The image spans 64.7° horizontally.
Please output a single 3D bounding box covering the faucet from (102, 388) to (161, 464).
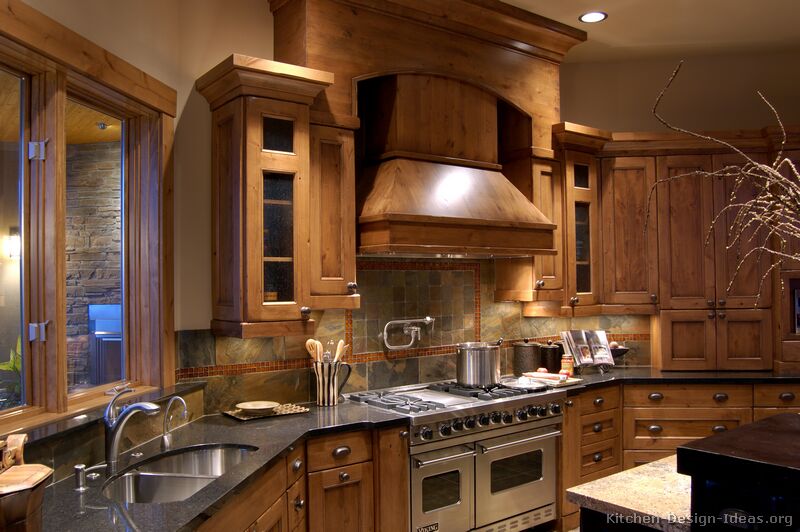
[{"bbox_3d":[-1.405,0.827,3.265,0.241,0.361,0.594,-4,4,-26],"label":"faucet"}]

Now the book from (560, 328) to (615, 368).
[{"bbox_3d":[1.637,0.714,5.461,0.456,0.304,0.104,-2,-17,-25],"label":"book"}]

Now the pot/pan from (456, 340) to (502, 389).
[{"bbox_3d":[0.608,0.760,4.914,0.349,0.295,0.322,0,2,-4],"label":"pot/pan"}]

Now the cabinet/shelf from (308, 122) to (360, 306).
[{"bbox_3d":[-0.466,-0.332,4.295,0.479,1.276,0.179,5,10,25],"label":"cabinet/shelf"}]

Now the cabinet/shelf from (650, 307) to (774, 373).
[{"bbox_3d":[2.741,0.656,5.658,1.019,0.566,0.527,0,-3,-7],"label":"cabinet/shelf"}]

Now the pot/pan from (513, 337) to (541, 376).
[{"bbox_3d":[1.134,0.790,5.424,0.339,0.325,0.217,-5,-6,26],"label":"pot/pan"}]

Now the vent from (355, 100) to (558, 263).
[{"bbox_3d":[0.391,-0.466,4.834,1.517,0.710,0.797,1,2,-27],"label":"vent"}]

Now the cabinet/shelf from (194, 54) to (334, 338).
[{"bbox_3d":[-0.872,-0.385,4.186,0.586,1.713,0.737,-1,-1,43],"label":"cabinet/shelf"}]

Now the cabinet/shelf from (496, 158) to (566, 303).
[{"bbox_3d":[1.096,-0.320,5.421,0.567,1.239,0.488,-3,4,24],"label":"cabinet/shelf"}]

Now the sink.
[{"bbox_3d":[-1.158,1.113,3.292,0.367,0.209,0.782,1,5,37],"label":"sink"}]

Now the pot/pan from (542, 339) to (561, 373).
[{"bbox_3d":[1.338,0.779,5.402,0.131,0.223,0.345,1,5,36],"label":"pot/pan"}]
